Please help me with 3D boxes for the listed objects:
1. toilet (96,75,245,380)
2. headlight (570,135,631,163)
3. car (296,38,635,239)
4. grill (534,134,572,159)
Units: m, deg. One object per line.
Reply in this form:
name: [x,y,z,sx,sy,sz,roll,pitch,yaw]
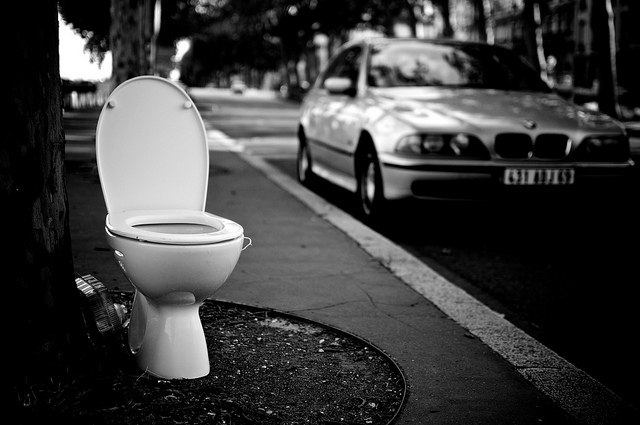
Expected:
toilet: [-0.935,0.019,3.676,0.771,1.620,1.111,-3,15,-21]
headlight: [2.951,-0.657,6.148,0.403,0.176,0.411,1,8,4]
car: [1.029,-1.184,7.706,1.914,1.457,4.408,0,6,-21]
grill: [2.375,-0.671,6.103,0.405,0.231,0.093,-3,14,-19]
